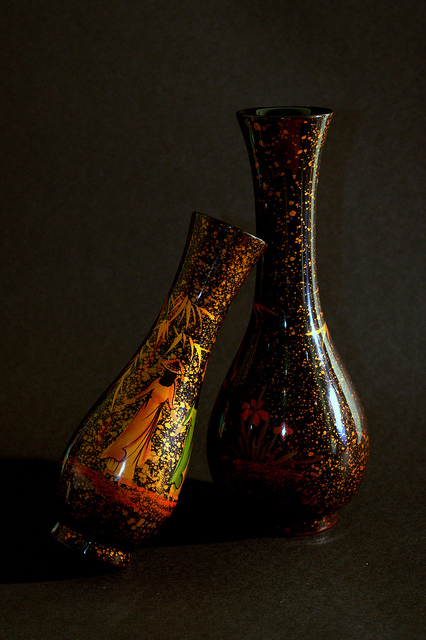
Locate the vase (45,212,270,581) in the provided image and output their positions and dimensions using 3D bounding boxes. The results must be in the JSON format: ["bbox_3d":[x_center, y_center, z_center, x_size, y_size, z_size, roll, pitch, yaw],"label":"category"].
[{"bbox_3d":[-0.039,0.055,0.456,0.139,0.254,0.060,-4,14,-21],"label":"vase"}]
